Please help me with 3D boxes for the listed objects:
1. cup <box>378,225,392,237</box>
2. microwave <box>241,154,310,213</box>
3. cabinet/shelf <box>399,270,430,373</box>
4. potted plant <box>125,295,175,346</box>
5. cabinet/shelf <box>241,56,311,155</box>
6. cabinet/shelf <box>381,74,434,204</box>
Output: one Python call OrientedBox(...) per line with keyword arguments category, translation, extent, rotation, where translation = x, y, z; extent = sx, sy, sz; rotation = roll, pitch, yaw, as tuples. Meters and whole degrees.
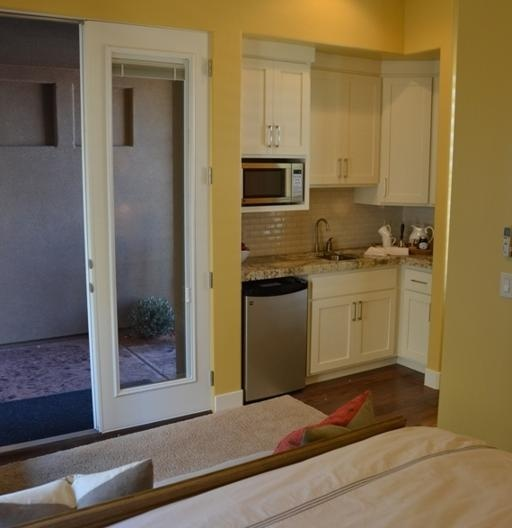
OrientedBox(category="cup", translation=(1.218, -0.315, 4.534), extent=(0.125, 0.132, 0.084), rotation=(-1, -5, -21))
OrientedBox(category="microwave", translation=(0.102, -0.648, 3.746), extent=(0.518, 0.368, 0.322), rotation=(-3, 12, -10))
OrientedBox(category="cabinet/shelf", translation=(1.362, 0.427, 4.160), extent=(0.101, 0.828, 0.383), rotation=(0, 4, -18))
OrientedBox(category="potted plant", translation=(-0.701, 0.382, 3.178), extent=(0.257, 0.282, 0.264), rotation=(0, -3, 14))
OrientedBox(category="cabinet/shelf", translation=(0.117, -1.156, 3.713), extent=(0.585, 0.669, 0.362), rotation=(0, 7, 2))
OrientedBox(category="cabinet/shelf", translation=(1.318, -1.081, 4.206), extent=(0.390, 1.085, 0.151), rotation=(4, 13, 24))
